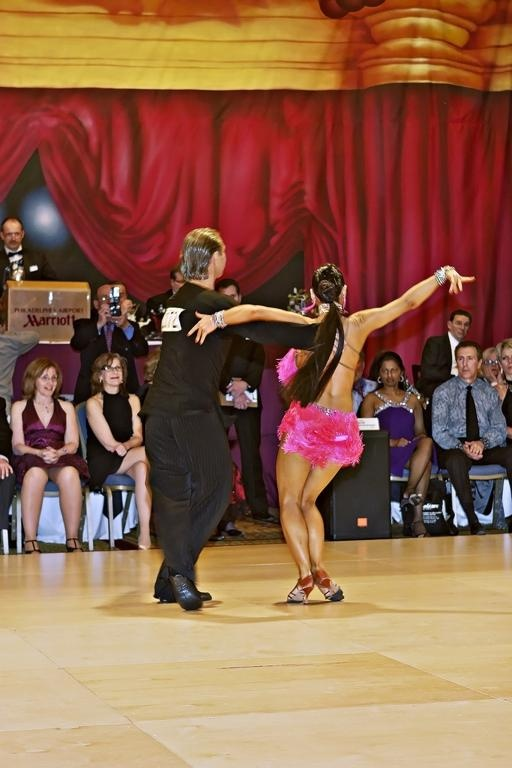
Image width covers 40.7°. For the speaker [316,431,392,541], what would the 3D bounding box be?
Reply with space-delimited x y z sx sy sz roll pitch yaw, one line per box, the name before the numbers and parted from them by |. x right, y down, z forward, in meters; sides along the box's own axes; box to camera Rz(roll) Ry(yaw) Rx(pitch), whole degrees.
speaker | 0.839 0.842 5.649 0.511 0.749 0.448 -2 11 4

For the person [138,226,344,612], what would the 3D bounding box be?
person | -0.280 0.150 3.190 0.438 1.705 0.458 -6 13 -27

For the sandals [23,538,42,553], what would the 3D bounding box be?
sandals | -1.566 1.146 4.833 0.092 0.084 0.194 -4 11 -22

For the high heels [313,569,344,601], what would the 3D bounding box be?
high heels | 0.346 0.969 3.344 0.087 0.201 0.063 -39 -17 0

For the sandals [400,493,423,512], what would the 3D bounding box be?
sandals | 1.320 0.997 5.815 0.069 0.136 0.161 16 9 4

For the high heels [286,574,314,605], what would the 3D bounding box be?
high heels | 0.215 0.977 3.303 0.088 0.062 0.157 1 15 3

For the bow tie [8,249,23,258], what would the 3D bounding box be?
bow tie | -2.473 -1.326 7.083 0.140 0.090 0.177 -5 5 -15

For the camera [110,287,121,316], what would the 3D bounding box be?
camera | -1.153 -0.681 5.654 0.084 0.253 0.097 -2 12 -11

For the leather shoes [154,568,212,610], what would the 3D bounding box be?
leather shoes | -0.344 0.963 3.263 0.126 0.140 0.359 -3 -4 -34
